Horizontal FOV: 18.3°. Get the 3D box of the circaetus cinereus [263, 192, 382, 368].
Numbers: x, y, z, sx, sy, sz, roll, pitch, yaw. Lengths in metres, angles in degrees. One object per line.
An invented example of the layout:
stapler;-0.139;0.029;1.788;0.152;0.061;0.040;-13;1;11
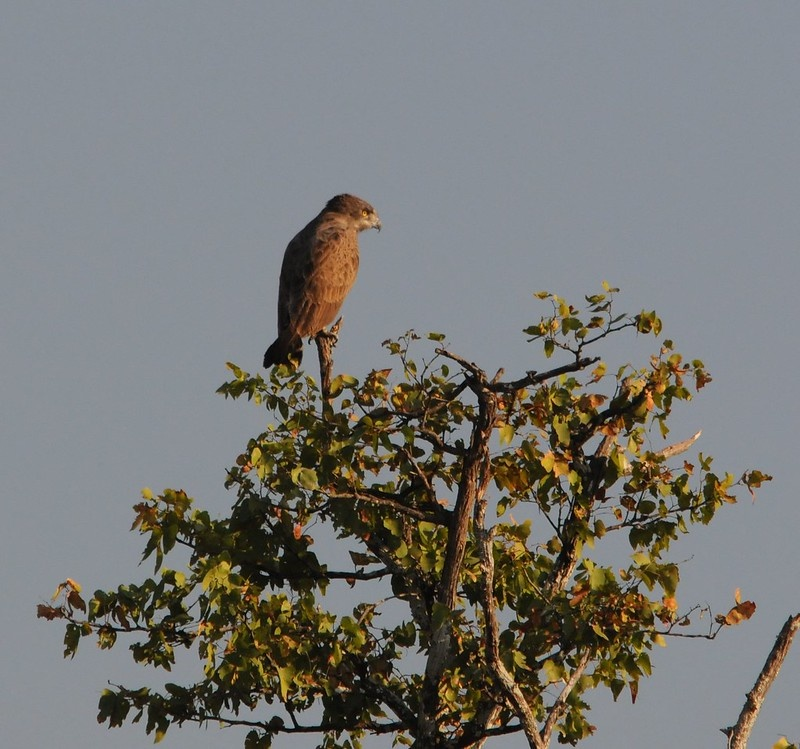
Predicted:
circaetus cinereus;-0.688;-0.902;21.792;0.604;1.299;1.264;15;-65;44
